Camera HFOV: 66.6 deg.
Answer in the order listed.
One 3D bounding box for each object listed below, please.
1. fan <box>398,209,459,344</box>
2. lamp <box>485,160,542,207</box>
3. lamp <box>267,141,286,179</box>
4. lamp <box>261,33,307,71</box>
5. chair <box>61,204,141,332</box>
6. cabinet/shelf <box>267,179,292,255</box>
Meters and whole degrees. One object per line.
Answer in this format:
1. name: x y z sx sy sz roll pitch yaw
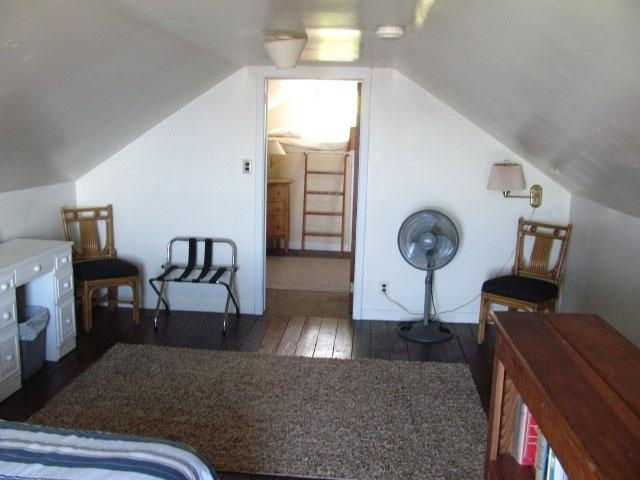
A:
1. fan: 0.937 0.283 4.352 0.528 1.141 0.511 1 14 1
2. lamp: 1.710 -0.483 4.259 0.327 0.505 0.532 2 5 43
3. lamp: -0.621 -1.141 6.932 0.260 0.577 0.599 0 15 -5
4. lamp: -0.231 -1.295 3.343 0.313 0.195 0.349 4 15 10
5. chair: -2.041 0.209 4.577 0.614 1.056 0.804 -7 16 -29
6. cabinet/shelf: -0.601 -0.357 7.094 0.331 1.062 0.561 0 14 -4
